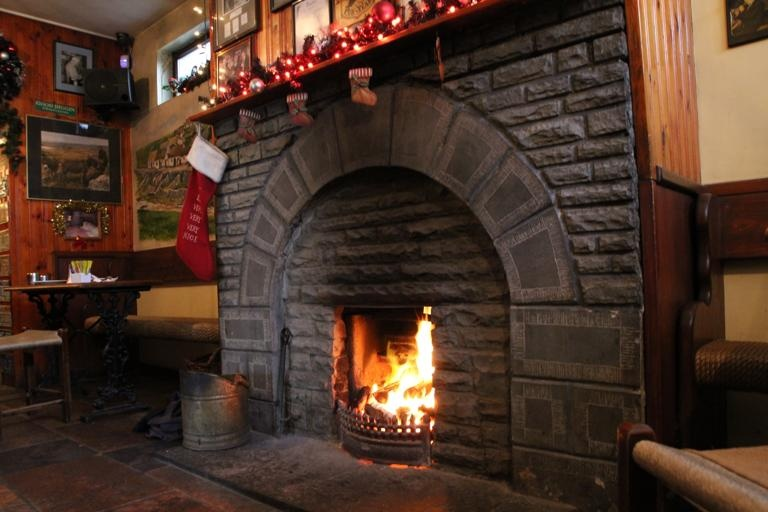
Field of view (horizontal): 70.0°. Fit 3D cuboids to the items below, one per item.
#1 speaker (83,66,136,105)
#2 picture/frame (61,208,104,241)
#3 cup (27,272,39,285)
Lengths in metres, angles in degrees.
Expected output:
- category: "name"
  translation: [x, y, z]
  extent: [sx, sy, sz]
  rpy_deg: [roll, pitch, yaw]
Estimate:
- category: "speaker"
  translation: [-3.889, -2.393, 7.835]
  extent: [0.682, 0.507, 0.394]
  rpy_deg: [-3, 4, 4]
- category: "picture/frame"
  translation: [-4.317, -0.448, 7.815]
  extent: [0.449, 0.458, 0.033]
  rpy_deg: [3, -7, -39]
- category: "cup"
  translation: [-4.113, 0.268, 6.436]
  extent: [0.152, 0.174, 0.153]
  rpy_deg: [-1, -6, 0]
